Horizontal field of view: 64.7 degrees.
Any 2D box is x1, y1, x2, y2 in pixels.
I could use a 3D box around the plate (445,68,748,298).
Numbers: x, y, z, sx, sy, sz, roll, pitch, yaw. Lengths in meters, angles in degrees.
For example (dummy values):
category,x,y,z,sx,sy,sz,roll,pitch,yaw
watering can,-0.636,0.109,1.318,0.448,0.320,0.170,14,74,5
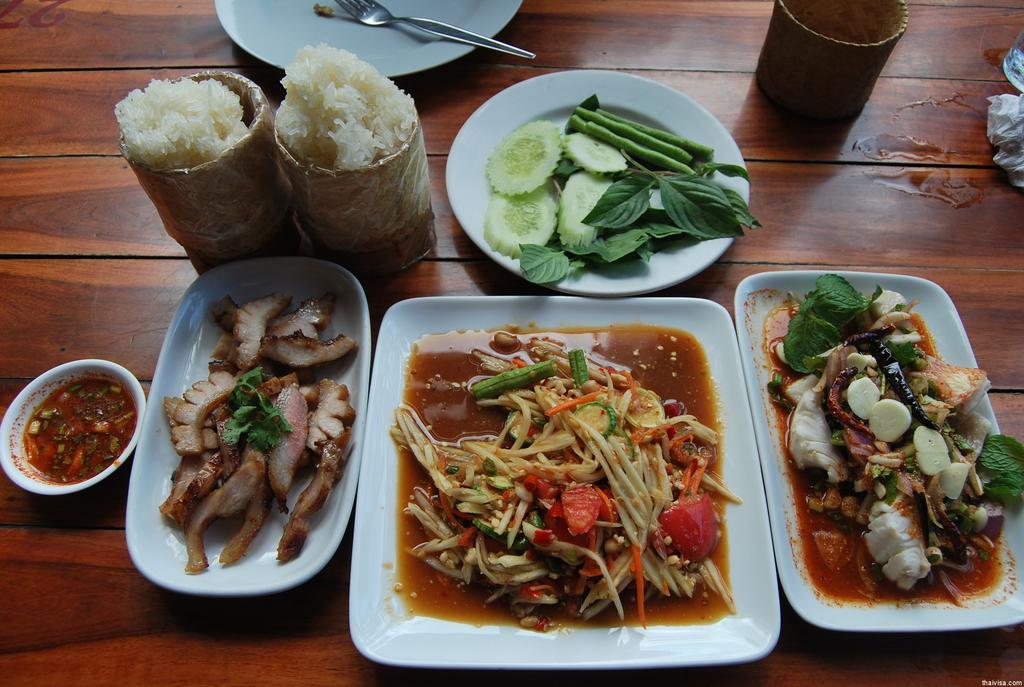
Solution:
category,x,y,z,sx,sy,sz,roll,pitch,yaw
plate,0.320,-0.643,3.121,1.132,0.128,1.015,22,73,10
